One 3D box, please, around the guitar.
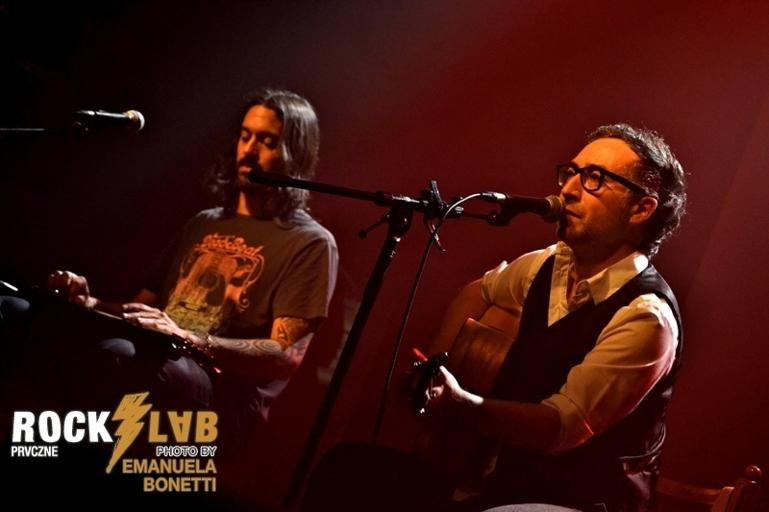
[{"bbox_3d":[0.438,0.503,3.079,0.155,0.619,0.354,41,-27,0],"label":"guitar"}]
